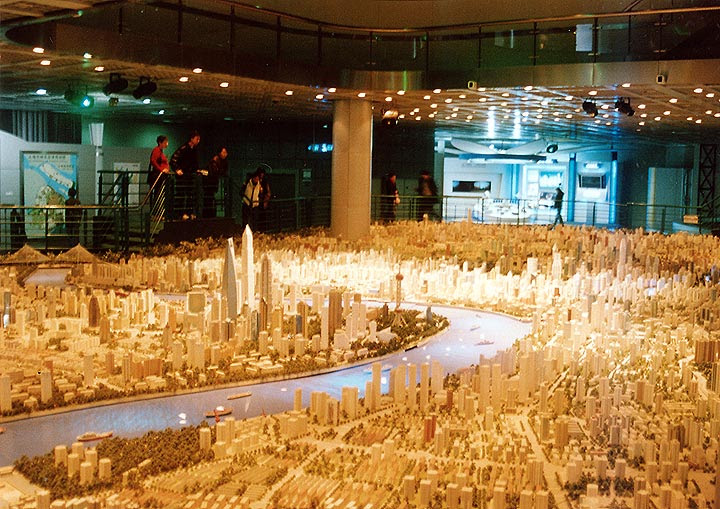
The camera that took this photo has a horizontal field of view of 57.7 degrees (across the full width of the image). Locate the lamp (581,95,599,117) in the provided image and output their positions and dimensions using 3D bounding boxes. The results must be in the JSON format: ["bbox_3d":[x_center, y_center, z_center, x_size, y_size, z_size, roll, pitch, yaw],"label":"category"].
[{"bbox_3d":[5.104,-3.254,14.521,0.316,0.497,0.237,-5,-1,17],"label":"lamp"}]

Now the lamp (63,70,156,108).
[{"bbox_3d":[-4.907,-3.605,13.795,1.652,0.615,0.552,0,27,15],"label":"lamp"}]

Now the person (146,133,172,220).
[{"bbox_3d":[-4.404,-1.648,14.277,0.454,1.743,0.859,-1,2,-19],"label":"person"}]

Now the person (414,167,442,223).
[{"bbox_3d":[2.189,-1.907,21.178,0.763,1.612,2.556,0,2,6],"label":"person"}]

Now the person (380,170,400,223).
[{"bbox_3d":[0.888,-1.730,20.153,0.501,1.534,1.268,0,2,2],"label":"person"}]

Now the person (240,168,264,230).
[{"bbox_3d":[-2.747,-1.370,16.704,0.533,1.532,1.052,0,2,-10],"label":"person"}]

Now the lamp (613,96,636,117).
[{"bbox_3d":[5.733,-3.201,14.241,0.357,0.588,0.182,4,5,15],"label":"lamp"}]
